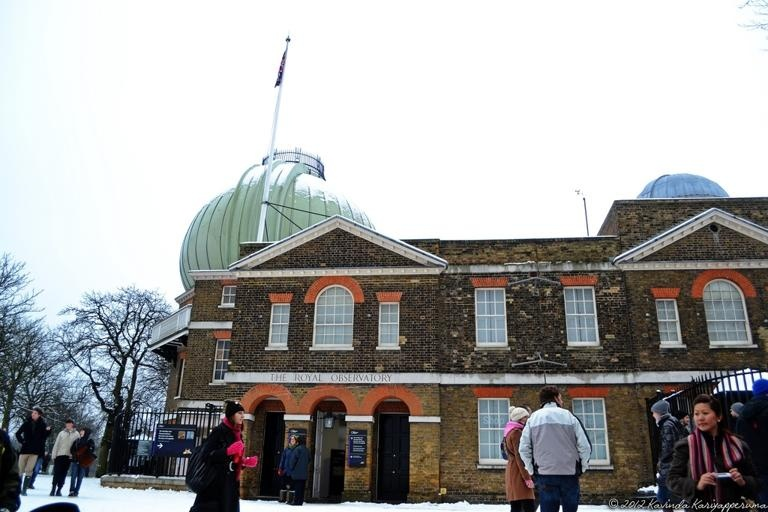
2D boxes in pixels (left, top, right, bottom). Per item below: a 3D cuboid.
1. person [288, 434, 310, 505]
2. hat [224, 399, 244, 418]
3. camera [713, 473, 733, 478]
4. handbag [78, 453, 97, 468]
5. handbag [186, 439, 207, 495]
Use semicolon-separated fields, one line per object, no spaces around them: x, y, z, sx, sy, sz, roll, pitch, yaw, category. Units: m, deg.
-2.927;7.236;21.049;0.653;2.221;1.011;4;-24;-3;person
-3.016;3.072;12.648;0.477;0.355;0.360;0;-8;-42;hat
5.302;3.392;9.647;0.306;0.106;0.049;7;-24;-14;camera
-10.015;6.816;20.768;0.513;0.411;0.833;11;-24;-21;handbag
-3.669;4.061;12.088;0.328;0.937;0.452;14;-27;-25;handbag
